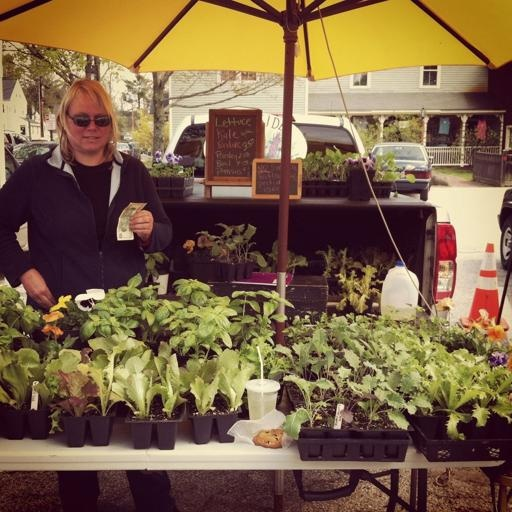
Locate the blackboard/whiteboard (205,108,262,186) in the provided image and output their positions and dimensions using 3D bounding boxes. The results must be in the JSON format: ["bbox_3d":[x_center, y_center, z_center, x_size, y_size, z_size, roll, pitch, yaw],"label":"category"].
[{"bbox_3d":[-0.158,-0.764,3.393,0.367,0.538,0.254,1,13,0],"label":"blackboard/whiteboard"}]

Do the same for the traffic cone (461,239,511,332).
[{"bbox_3d":[2.680,0.310,5.539,0.409,1.099,0.467,1,10,0],"label":"traffic cone"}]

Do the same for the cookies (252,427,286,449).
[{"bbox_3d":[0.036,0.523,1.371,0.092,0.033,0.071,1,5,2],"label":"cookies"}]

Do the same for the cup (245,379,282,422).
[{"bbox_3d":[0.019,0.442,1.469,0.102,0.138,0.075,1,5,2],"label":"cup"}]

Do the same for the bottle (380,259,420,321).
[{"bbox_3d":[0.854,0.205,2.792,0.250,0.370,0.282,3,16,4],"label":"bottle"}]

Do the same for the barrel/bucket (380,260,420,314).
[{"bbox_3d":[0.905,0.211,3.033,0.233,0.333,0.226,1,18,0],"label":"barrel/bucket"}]

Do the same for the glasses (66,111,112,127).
[{"bbox_3d":[-0.746,-0.602,2.127,0.186,0.068,0.046,-1,5,-20],"label":"glasses"}]

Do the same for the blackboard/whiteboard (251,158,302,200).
[{"bbox_3d":[0.138,-0.507,3.111,0.378,0.315,0.330,4,13,6],"label":"blackboard/whiteboard"}]
